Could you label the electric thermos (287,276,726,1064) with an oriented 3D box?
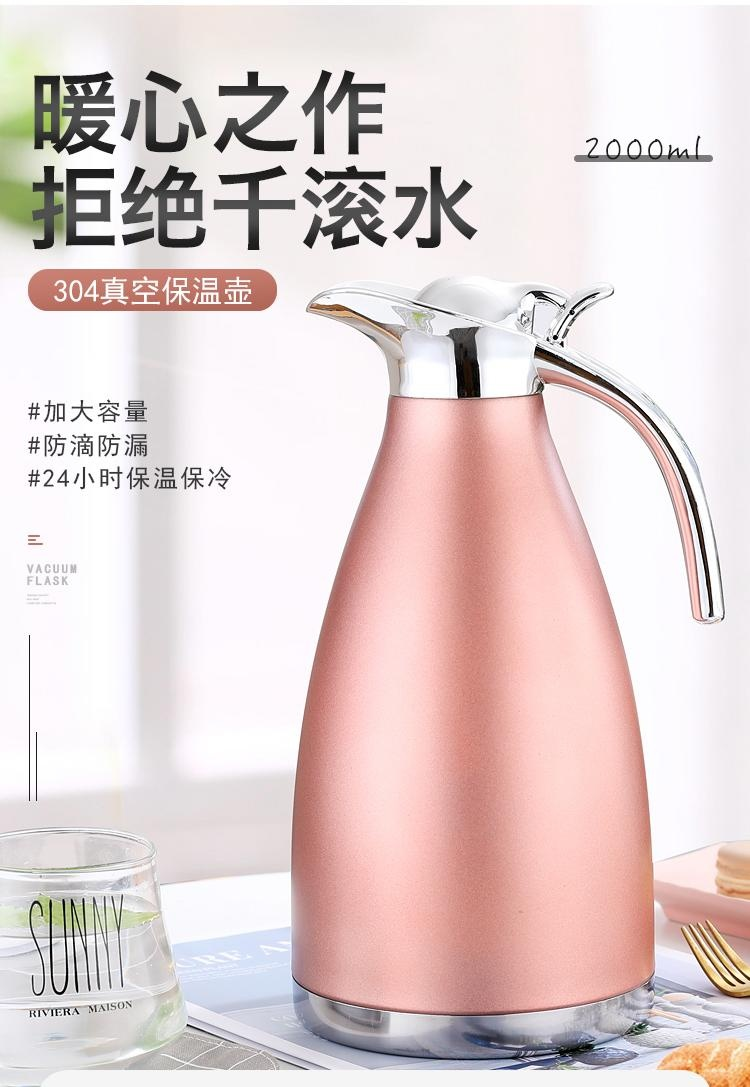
[{"bbox_3d":[0.025,0.045,0.540,0.265,0.356,0.222,-1,-1,13],"label":"electric thermos"}]
